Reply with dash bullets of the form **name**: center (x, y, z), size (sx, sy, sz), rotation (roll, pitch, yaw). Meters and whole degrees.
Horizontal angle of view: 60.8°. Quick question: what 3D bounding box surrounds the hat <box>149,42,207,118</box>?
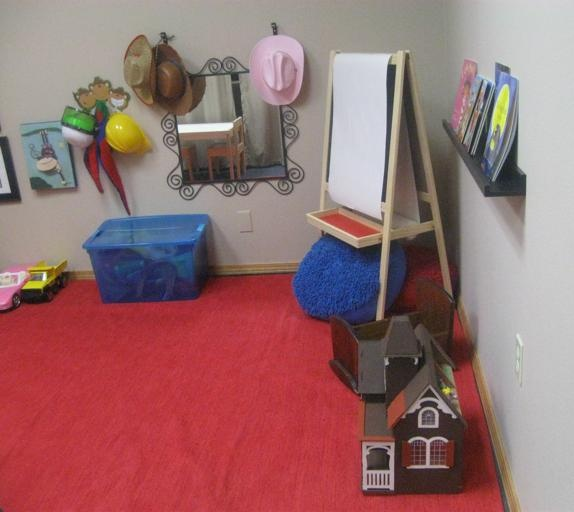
- **hat**: center (-0.638, -1.013, 2.808), size (0.276, 0.333, 0.116), rotation (-40, -3, 35)

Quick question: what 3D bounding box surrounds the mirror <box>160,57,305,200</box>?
- **mirror**: center (-0.308, -0.792, 2.877), size (0.615, 0.769, 0.015), rotation (-1, 19, -3)

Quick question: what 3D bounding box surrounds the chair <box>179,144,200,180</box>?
- **chair**: center (-0.579, -0.603, 3.022), size (0.113, 0.270, 0.137), rotation (0, 30, 1)

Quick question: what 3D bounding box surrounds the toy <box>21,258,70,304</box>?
- **toy**: center (-1.548, 0.149, 3.143), size (0.125, 0.168, 0.309), rotation (-2, 22, 6)

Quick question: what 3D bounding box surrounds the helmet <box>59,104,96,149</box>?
- **helmet**: center (-1.232, -0.777, 2.961), size (0.159, 0.203, 0.236), rotation (23, 11, -10)

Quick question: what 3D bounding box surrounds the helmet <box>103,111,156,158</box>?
- **helmet**: center (-0.957, -0.699, 2.954), size (0.169, 0.272, 0.227), rotation (-11, 63, 6)

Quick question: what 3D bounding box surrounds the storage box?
- **storage box**: center (-0.832, 0.033, 2.912), size (0.455, 0.406, 0.687), rotation (-2, 15, 1)

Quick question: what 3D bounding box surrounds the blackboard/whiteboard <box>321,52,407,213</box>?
- **blackboard/whiteboard**: center (0.375, -0.581, 2.288), size (0.246, 0.928, 0.488), rotation (-17, 27, -29)

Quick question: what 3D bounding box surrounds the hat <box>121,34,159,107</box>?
- **hat**: center (-0.821, -1.043, 2.752), size (0.083, 0.354, 0.233), rotation (-6, 28, -24)

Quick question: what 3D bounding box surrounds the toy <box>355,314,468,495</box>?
- **toy**: center (0.318, 0.408, 1.666), size (0.300, 0.584, 0.566), rotation (-2, 34, 5)
